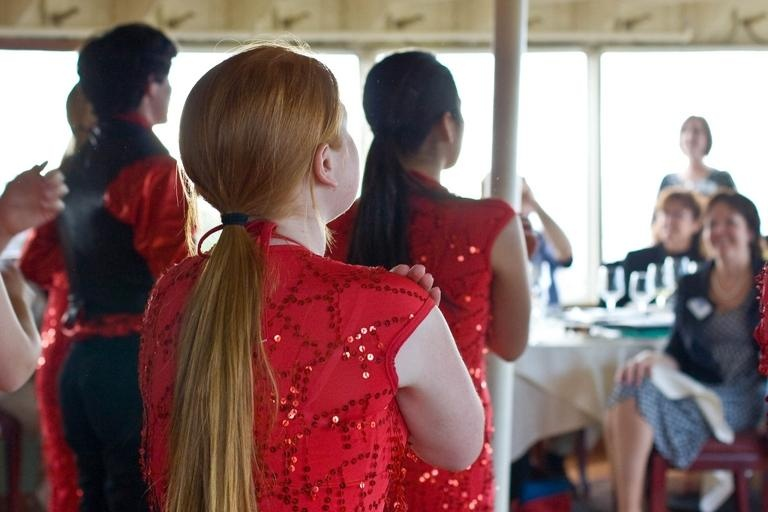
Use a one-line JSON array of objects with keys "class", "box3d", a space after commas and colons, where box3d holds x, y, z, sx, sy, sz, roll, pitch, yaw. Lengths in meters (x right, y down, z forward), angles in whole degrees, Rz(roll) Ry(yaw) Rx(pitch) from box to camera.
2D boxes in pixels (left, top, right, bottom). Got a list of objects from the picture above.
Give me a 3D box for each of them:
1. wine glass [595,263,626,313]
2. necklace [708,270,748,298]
[{"class": "wine glass", "box3d": [0.690, 0.094, 3.209, 0.073, 0.144, 0.040, 3, 18, 10]}, {"class": "necklace", "box3d": [1.034, 0.082, 3.158, 0.116, 0.086, 0.010, -2, 6, 2]}]
